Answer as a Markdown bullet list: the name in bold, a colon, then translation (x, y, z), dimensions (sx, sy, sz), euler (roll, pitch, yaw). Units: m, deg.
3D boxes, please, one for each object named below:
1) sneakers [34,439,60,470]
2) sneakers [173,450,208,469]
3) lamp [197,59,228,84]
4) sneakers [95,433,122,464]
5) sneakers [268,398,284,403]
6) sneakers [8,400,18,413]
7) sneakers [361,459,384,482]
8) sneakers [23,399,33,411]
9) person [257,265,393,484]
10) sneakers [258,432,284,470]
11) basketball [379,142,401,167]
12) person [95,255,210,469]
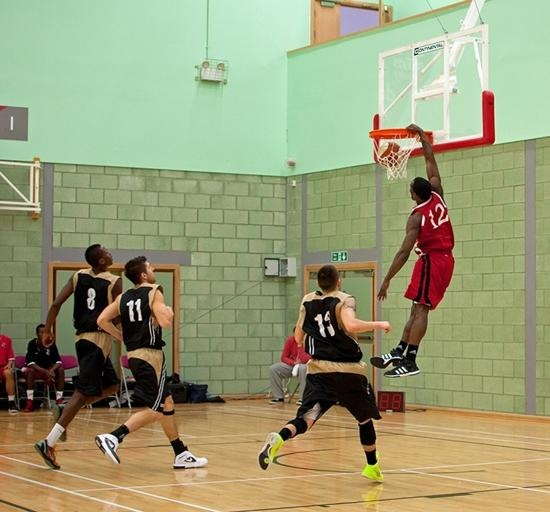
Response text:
- **sneakers**: translation (-1.802, 1.578, 4.752), dimensions (0.090, 0.268, 0.210), euler (0, -1, 16)
- **sneakers**: translation (-0.706, 1.721, 5.065), dimensions (0.346, 0.181, 0.134), euler (1, -1, -12)
- **lamp**: translation (-1.278, -3.919, 12.525), dimensions (0.604, 0.429, 0.180), euler (6, -7, -16)
- **sneakers**: translation (-1.248, 1.453, 4.481), dimensions (0.162, 0.256, 0.243), euler (0, -1, -14)
- **sneakers**: translation (0.042, 2.815, 11.667), dimensions (0.268, 0.112, 0.107), euler (7, -10, -34)
- **sneakers**: translation (-4.398, 2.518, 10.075), dimensions (0.135, 0.192, 0.234), euler (0, -1, -20)
- **sneakers**: translation (0.767, 1.645, 4.581), dimensions (0.102, 0.118, 0.258), euler (3, -3, 25)
- **sneakers**: translation (-4.219, 2.548, 10.284), dimensions (0.156, 0.208, 0.441), euler (0, -1, -23)
- **person**: translation (0.396, 0.891, 4.251), dimensions (0.806, 1.665, 0.987), euler (0, -1, 10)
- **sneakers**: translation (-0.010, 1.284, 3.911), dimensions (0.142, 0.246, 0.202), euler (0, -1, 6)
- **basketball**: translation (1.498, -1.363, 7.770), dimensions (0.222, 0.200, 0.263), euler (8, -51, -42)
- **person**: translation (-0.991, 0.892, 4.770), dimensions (0.816, 1.789, 0.638), euler (0, -1, -16)
